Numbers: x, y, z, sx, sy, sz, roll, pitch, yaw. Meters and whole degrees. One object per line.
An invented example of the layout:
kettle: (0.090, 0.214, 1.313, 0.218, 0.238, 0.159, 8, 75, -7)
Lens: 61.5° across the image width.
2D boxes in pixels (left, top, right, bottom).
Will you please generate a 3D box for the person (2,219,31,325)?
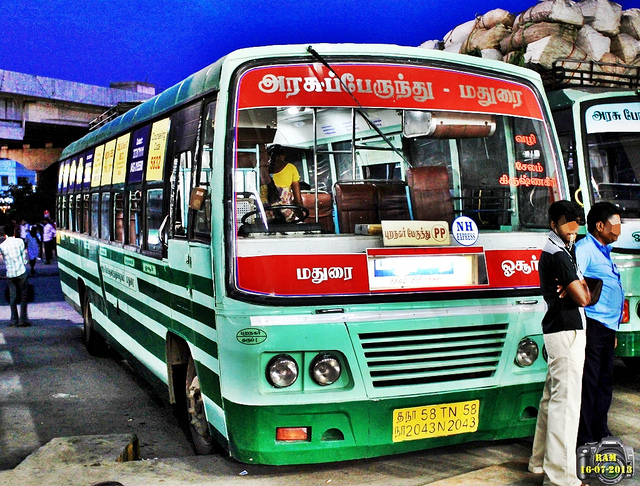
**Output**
person: (-6.160, 0.609, 10.962, 0.521, 2.112, 0.720, 2, -2, -27)

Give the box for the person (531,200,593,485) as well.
person: (1.787, 0.701, 3.909, 0.324, 2.027, 0.277, 0, -2, 20)

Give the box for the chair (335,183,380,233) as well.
chair: (0.262, -0.328, 4.939, 0.327, 0.493, 0.472, 0, -7, -9)
